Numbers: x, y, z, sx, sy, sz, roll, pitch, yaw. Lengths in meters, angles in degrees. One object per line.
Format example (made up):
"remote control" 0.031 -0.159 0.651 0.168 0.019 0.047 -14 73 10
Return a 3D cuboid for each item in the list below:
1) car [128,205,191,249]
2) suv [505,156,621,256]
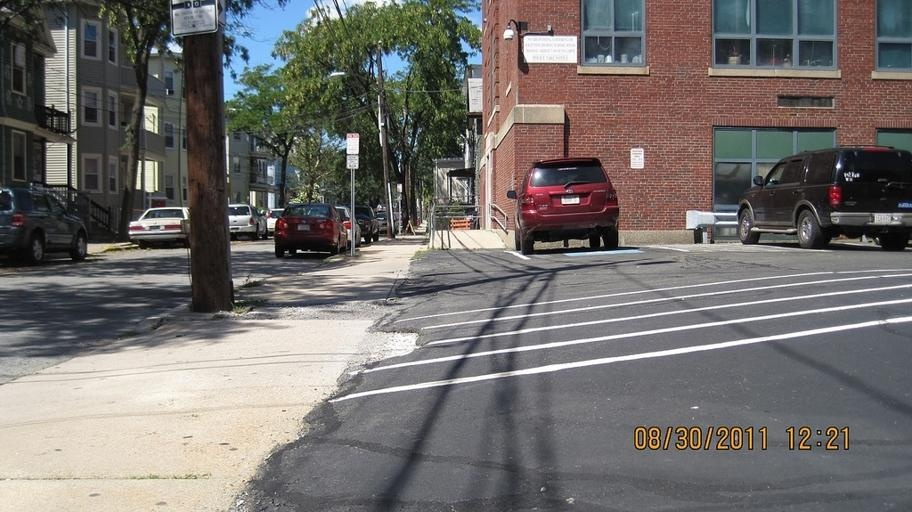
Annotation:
"car" -11.988 -1.109 32.780 1.881 1.235 3.826 -2 5 -6
"suv" 3.060 -1.504 22.078 1.995 1.559 3.447 -2 6 -3
